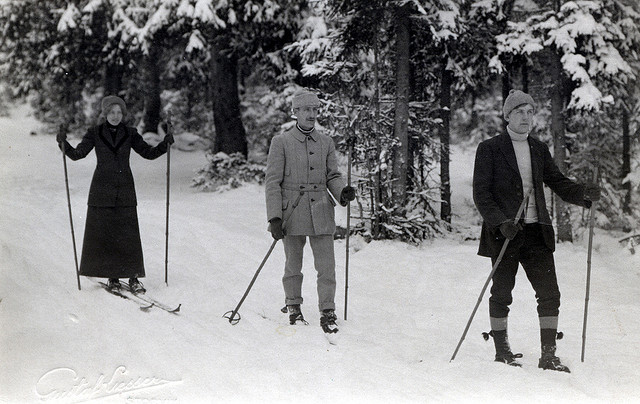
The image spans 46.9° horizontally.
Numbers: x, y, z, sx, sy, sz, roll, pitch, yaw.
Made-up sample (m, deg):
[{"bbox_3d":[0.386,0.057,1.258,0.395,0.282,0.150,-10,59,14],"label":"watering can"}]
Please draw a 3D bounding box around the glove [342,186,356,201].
[{"bbox_3d":[0.468,-0.131,11.466,0.168,0.195,0.207,-5,3,-30],"label":"glove"}]

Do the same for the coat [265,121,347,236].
[{"bbox_3d":[-0.270,-0.313,11.564,0.909,2.434,0.789,-1,8,-4],"label":"coat"}]

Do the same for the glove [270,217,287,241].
[{"bbox_3d":[-0.632,0.415,11.321,0.106,0.312,0.225,-5,5,24],"label":"glove"}]

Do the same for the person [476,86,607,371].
[{"bbox_3d":[2.991,0.374,10.797,1.446,3.981,0.801,2,5,16],"label":"person"}]

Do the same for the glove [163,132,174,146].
[{"bbox_3d":[-2.491,-1.029,12.142,0.149,0.214,0.083,2,6,9],"label":"glove"}]

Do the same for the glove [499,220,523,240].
[{"bbox_3d":[2.760,0.411,10.597,0.366,0.288,0.234,-2,6,-33],"label":"glove"}]

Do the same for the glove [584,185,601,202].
[{"bbox_3d":[3.906,-0.131,10.598,0.171,0.247,0.112,0,6,26],"label":"glove"}]
